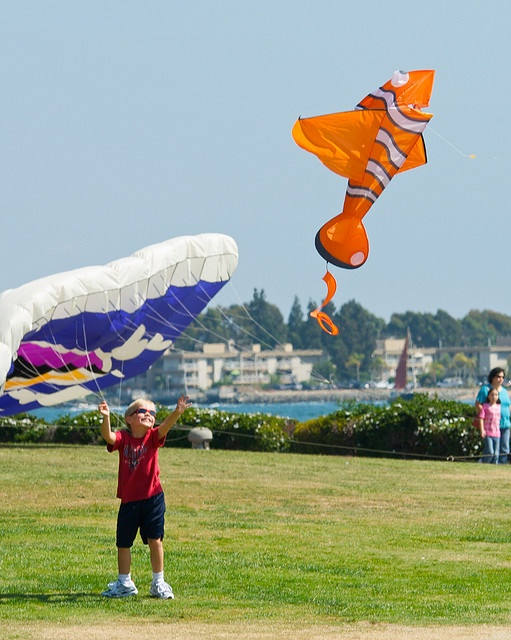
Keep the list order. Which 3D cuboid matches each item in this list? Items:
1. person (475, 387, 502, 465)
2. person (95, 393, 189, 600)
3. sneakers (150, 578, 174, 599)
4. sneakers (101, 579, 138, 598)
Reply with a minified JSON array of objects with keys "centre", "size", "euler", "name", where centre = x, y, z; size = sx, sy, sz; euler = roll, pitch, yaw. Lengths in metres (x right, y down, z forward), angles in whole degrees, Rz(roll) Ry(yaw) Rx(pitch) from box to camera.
[{"centre":[3.162,1.472,23.357],"size":[0.301,1.052,1.282],"euler":[-1,-1,8],"name":"person"},{"centre":[-1.052,1.691,15.977],"size":[0.722,1.845,0.402],"euler":[-1,-1,-6],"name":"person"},{"centre":[-0.847,2.527,15.975],"size":[0.101,0.157,0.292],"euler":[0,-4,-30],"name":"sneakers"},{"centre":[-1.238,2.520,15.984],"size":[0.331,0.200,0.147],"euler":[-2,-1,3],"name":"sneakers"}]
